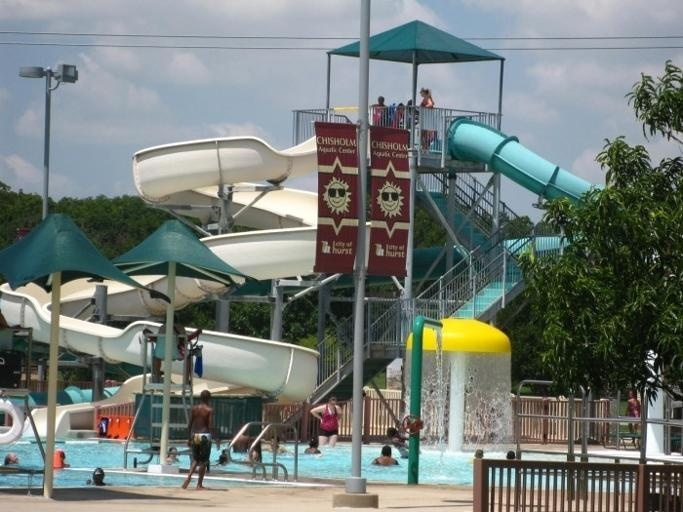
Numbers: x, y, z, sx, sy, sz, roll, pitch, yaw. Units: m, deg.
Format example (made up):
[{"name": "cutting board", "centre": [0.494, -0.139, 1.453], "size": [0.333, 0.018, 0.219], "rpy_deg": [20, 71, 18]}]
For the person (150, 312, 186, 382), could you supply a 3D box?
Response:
[{"name": "person", "centre": [-3.343, 1.980, 32.809], "size": [0.681, 1.208, 0.895], "rpy_deg": [5, 16, 9]}]

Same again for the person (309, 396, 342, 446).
[{"name": "person", "centre": [-0.324, 3.865, 38.104], "size": [0.581, 1.608, 0.438], "rpy_deg": [4, 9, 3]}]
